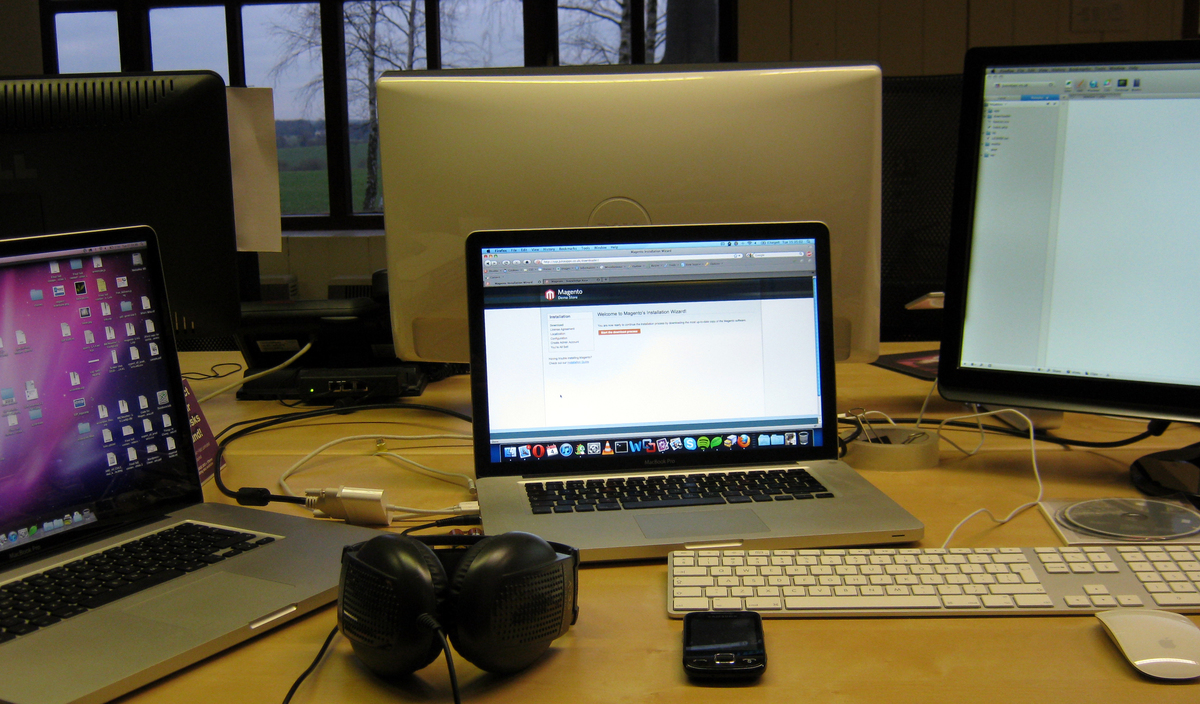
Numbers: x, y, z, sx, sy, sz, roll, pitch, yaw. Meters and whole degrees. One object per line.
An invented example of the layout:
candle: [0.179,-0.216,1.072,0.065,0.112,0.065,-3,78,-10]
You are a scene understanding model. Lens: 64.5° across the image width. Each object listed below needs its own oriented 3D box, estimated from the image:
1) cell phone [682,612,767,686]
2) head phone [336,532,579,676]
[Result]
cell phone: [0.177,0.425,1.362,0.112,0.072,0.086,1,12,4]
head phone: [-0.230,0.372,1.481,0.379,0.178,0.392,0,-3,22]
